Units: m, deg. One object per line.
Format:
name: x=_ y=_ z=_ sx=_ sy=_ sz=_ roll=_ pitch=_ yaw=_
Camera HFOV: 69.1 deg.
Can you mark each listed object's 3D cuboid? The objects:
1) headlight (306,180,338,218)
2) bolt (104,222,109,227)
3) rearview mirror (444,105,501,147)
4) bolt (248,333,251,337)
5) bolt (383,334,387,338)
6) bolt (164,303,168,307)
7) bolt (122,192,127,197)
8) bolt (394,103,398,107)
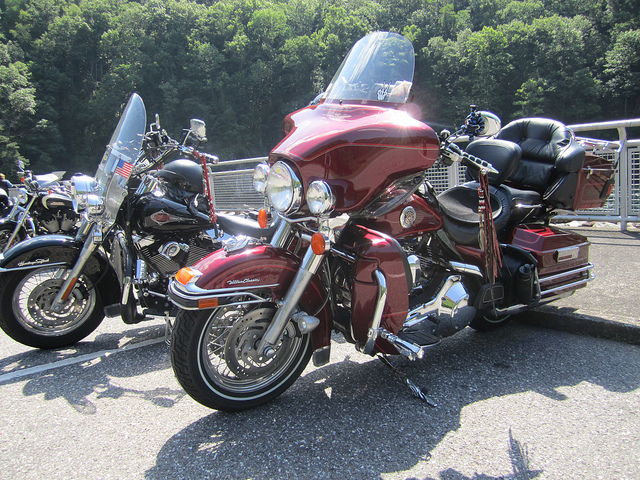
headlight: x=0.009 y=-0.272 z=2.972 sx=0.262 sy=0.252 sz=0.166 roll=8 pitch=6 yaw=43
bolt: x=-1.941 y=-0.140 z=4.209 sx=0.025 sy=0.018 sz=0.038 roll=4 pitch=-3 yaw=-3
rearview mirror: x=1.154 y=-0.884 z=3.578 sx=0.493 sy=0.218 sz=0.186 roll=-9 pitch=13 yaw=3
bolt: x=-0.483 y=0.643 z=3.147 sx=0.030 sy=0.024 sz=0.007 roll=7 pitch=-8 yaw=-4
bolt: x=0.448 y=0.662 z=3.215 sx=0.011 sy=0.018 sz=0.012 roll=-14 pitch=-10 yaw=41
bolt: x=-1.442 y=0.600 z=4.331 sx=0.041 sy=0.033 sz=0.009 roll=-5 pitch=3 yaw=11
bolt: x=-1.805 y=-0.421 z=4.274 sx=0.015 sy=0.032 sz=0.051 roll=7 pitch=13 yaw=10
bolt: x=0.555 y=-0.986 z=3.394 sx=0.024 sy=0.004 sz=0.021 roll=-2 pitch=-12 yaw=-1
